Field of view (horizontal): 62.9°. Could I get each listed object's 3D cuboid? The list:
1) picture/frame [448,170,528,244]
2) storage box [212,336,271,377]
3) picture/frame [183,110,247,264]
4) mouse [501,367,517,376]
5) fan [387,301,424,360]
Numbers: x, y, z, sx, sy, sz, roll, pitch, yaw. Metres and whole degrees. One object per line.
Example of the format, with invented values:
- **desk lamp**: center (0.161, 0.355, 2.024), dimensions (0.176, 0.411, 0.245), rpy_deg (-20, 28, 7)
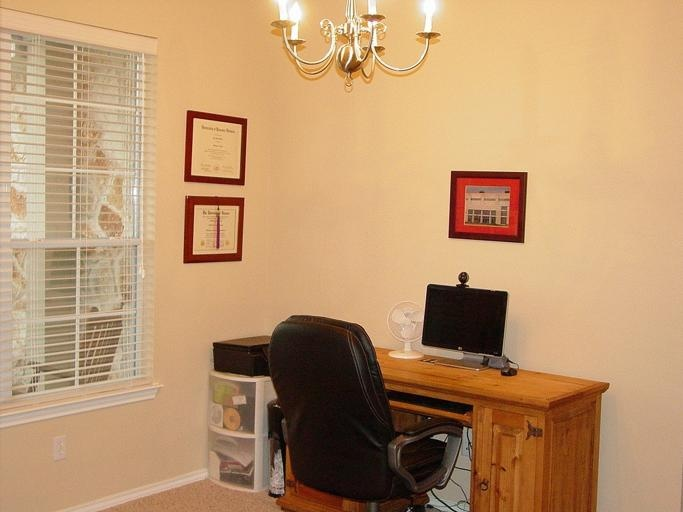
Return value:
- **picture/frame**: center (0.959, -0.321, 3.593), dimensions (0.449, 0.457, 0.038), rpy_deg (2, 3, 29)
- **storage box**: center (-0.699, 0.703, 3.932), dimensions (0.305, 0.159, 0.314), rpy_deg (3, 3, 30)
- **picture/frame**: center (-0.907, -0.482, 3.992), dimensions (0.089, 1.041, 0.495), rpy_deg (7, 7, 43)
- **mouse**: center (0.981, 0.670, 3.301), dimensions (0.053, 0.028, 0.059), rpy_deg (4, 2, 41)
- **fan**: center (0.440, 0.500, 3.750), dimensions (0.307, 0.483, 0.315), rpy_deg (-1, -2, 18)
